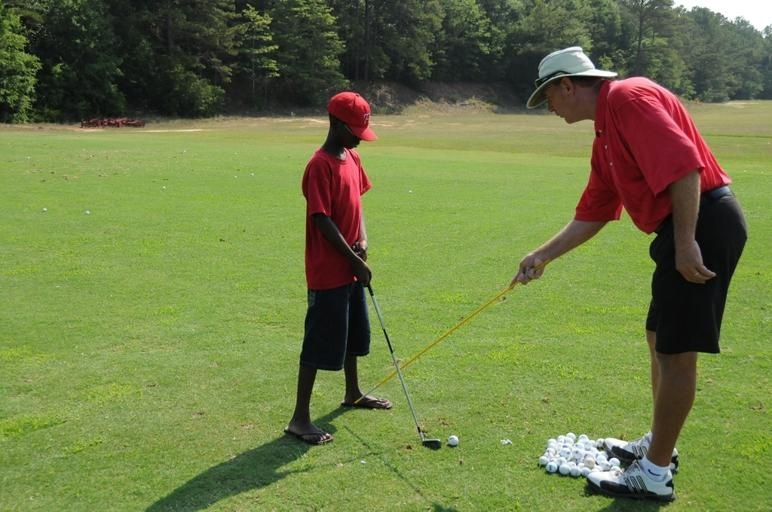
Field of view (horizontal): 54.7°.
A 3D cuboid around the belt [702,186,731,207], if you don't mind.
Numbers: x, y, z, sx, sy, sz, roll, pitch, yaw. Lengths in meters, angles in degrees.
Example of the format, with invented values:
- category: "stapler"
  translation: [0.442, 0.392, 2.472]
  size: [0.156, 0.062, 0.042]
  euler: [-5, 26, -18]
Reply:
- category: "belt"
  translation: [2.620, -0.485, 5.959]
  size: [0.184, 0.064, 0.174]
  euler: [-23, 0, -6]

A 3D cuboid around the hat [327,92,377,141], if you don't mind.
- category: "hat"
  translation: [-0.275, -1.322, 6.916]
  size: [0.577, 0.292, 0.356]
  euler: [35, 21, 1]

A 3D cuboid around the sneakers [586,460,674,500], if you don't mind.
- category: "sneakers"
  translation: [2.038, 1.872, 6.263]
  size: [0.702, 0.263, 0.240]
  euler: [4, 3, 8]

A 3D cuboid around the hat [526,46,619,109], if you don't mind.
- category: "hat"
  translation: [1.498, -1.566, 6.332]
  size: [0.785, 0.296, 0.634]
  euler: [-16, 2, 12]

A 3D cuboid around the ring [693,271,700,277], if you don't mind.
- category: "ring"
  translation: [2.407, 0.140, 5.794]
  size: [0.039, 0.036, 0.010]
  euler: [3, 11, 4]

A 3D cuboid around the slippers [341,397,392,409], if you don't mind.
- category: "slippers"
  translation: [-0.172, 1.418, 7.202]
  size: [0.377, 0.076, 0.162]
  euler: [-2, 0, 2]

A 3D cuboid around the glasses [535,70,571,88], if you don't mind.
- category: "glasses"
  translation: [1.369, -1.479, 6.255]
  size: [0.196, 0.063, 0.144]
  euler: [-9, -5, 19]

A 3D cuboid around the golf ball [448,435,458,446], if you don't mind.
- category: "golf ball"
  translation: [0.603, 1.660, 6.706]
  size: [0.102, 0.082, 0.086]
  euler: [2, 10, 1]
